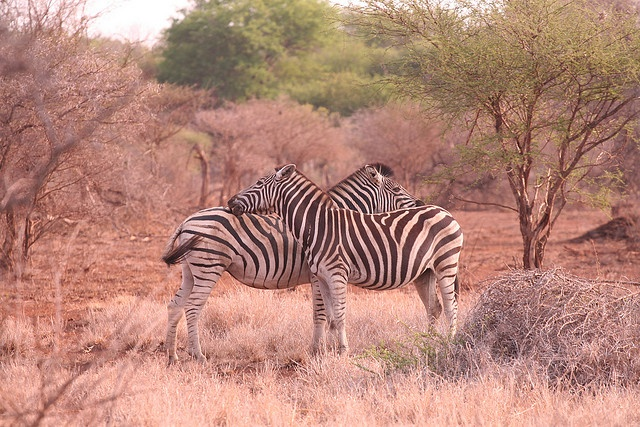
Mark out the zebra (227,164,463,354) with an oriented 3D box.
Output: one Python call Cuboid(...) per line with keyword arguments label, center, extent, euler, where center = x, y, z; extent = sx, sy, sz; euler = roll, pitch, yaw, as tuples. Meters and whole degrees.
Cuboid(label="zebra", center=(0.539, 0.826, 15.591), extent=(3.988, 3.071, 1.345), euler=(3, -2, -17))
